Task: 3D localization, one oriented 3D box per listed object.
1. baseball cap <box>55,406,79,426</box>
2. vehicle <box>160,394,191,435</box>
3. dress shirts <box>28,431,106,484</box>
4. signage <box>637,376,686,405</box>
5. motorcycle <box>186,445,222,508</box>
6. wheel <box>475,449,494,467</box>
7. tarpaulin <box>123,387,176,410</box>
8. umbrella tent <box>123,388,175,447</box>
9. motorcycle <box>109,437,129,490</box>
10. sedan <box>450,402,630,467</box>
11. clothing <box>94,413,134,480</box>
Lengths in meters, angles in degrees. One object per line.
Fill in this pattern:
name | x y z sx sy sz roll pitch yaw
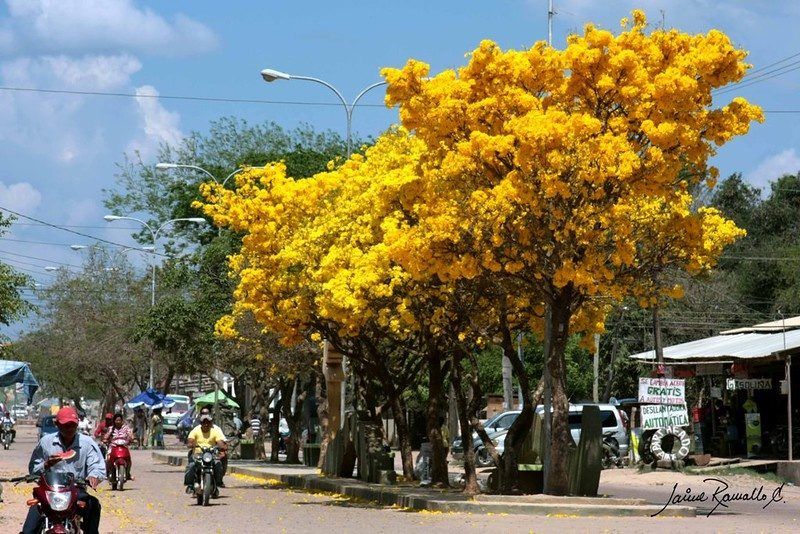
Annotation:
baseball cap | -5.965 2.680 19.352 0.285 0.237 0.431 3 -13 -20
vehicle | -16.936 10.923 79.685 2.803 2.666 5.255 11 -9 -7
dress shirts | -5.971 3.501 19.349 1.260 1.014 0.895 9 9 -20
signage | 9.085 4.346 37.663 1.547 0.867 0.207 1 -3 1
motorcycle | -4.898 5.221 27.131 0.769 0.887 1.438 2 -12 -10
wheel | 3.267 7.553 42.600 0.663 0.751 0.646 4 -15 1
tarpaulin | -12.351 6.727 54.734 2.120 0.931 2.189 13 -18 -31
umbrella tent | -12.652 7.582 55.030 2.430 2.884 2.443 0 2 -27
motorcycle | -8.012 5.662 30.736 0.598 1.469 0.835 8 -15 -14
sedan | 5.644 6.467 43.096 6.198 2.260 3.203 2 -10 -2
clothing | -8.242 5.074 32.143 1.339 1.535 2.316 1 -8 -18
